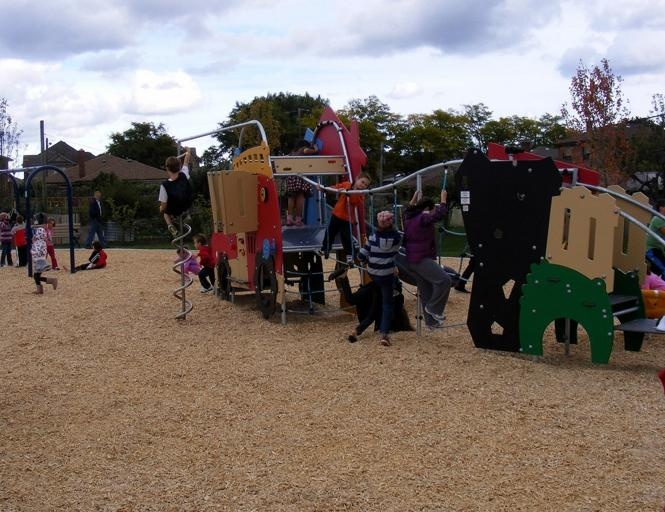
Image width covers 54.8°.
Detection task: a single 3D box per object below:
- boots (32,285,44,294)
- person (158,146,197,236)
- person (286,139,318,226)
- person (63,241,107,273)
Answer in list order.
[{"bbox_3d":[-5.510,0.626,11.968,0.240,0.200,0.099,11,12,38],"label":"boots"},{"bbox_3d":[-2.291,-0.875,9.372,0.507,1.312,1.642,-4,13,-12],"label":"person"},{"bbox_3d":[-0.537,-1.128,10.112,0.489,1.311,1.142,1,13,13],"label":"person"},{"bbox_3d":[-6.019,-0.009,15.641,0.792,0.808,1.462,-5,13,-14],"label":"person"}]
